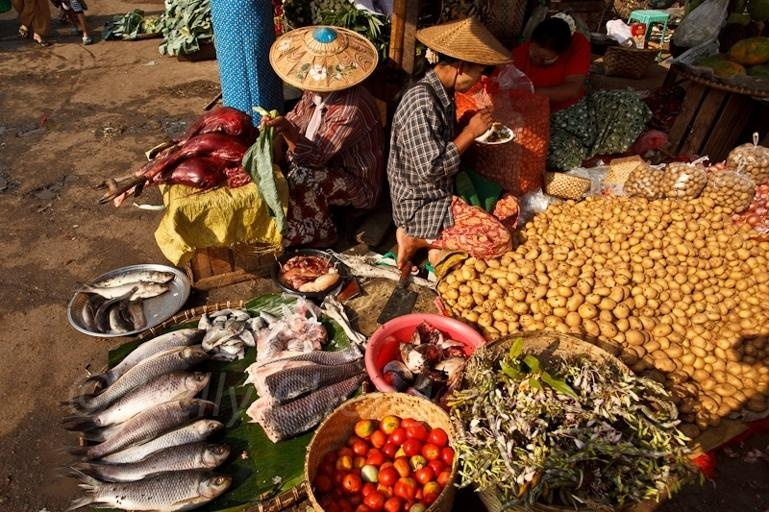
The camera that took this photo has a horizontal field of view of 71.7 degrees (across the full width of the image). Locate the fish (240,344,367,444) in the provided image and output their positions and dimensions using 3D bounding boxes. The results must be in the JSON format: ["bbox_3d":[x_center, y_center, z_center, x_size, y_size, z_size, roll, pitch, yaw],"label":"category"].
[{"bbox_3d":[-0.645,1.211,4.792,1.014,0.275,0.655,-27,62,-27],"label":"fish"}]

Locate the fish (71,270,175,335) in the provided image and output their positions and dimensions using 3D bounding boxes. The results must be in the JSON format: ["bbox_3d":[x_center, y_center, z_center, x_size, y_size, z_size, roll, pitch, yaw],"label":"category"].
[{"bbox_3d":[-2.688,0.435,5.503,0.628,0.220,0.733,30,41,32],"label":"fish"}]

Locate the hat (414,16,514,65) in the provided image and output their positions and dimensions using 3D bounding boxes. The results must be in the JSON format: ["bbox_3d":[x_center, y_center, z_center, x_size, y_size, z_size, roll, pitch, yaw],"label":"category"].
[{"bbox_3d":[0.793,-2.105,5.256,0.923,0.297,0.536,2,50,7],"label":"hat"}]

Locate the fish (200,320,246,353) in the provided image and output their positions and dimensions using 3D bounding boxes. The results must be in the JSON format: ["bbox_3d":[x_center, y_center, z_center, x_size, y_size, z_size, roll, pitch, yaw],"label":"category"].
[{"bbox_3d":[-1.563,0.767,5.183,0.224,0.089,0.350,40,53,19],"label":"fish"}]

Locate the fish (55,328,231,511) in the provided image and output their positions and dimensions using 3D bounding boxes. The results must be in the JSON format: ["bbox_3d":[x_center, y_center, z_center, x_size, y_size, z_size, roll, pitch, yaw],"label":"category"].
[{"bbox_3d":[-2.077,1.497,4.677,1.392,0.494,0.229,-22,29,-20],"label":"fish"}]

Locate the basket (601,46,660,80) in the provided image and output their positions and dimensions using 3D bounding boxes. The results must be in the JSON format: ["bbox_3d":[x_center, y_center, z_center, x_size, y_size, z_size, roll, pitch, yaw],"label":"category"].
[{"bbox_3d":[4.529,-3.543,9.827,0.835,0.414,0.664,16,41,23],"label":"basket"}]

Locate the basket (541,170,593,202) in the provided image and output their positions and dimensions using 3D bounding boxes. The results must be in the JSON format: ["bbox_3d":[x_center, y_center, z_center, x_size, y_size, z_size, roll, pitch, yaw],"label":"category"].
[{"bbox_3d":[2.104,-0.806,6.170,0.390,0.162,0.397,24,20,23],"label":"basket"}]

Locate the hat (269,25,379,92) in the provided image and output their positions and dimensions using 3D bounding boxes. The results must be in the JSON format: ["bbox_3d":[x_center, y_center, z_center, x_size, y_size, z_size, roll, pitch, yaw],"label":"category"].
[{"bbox_3d":[-0.573,-2.053,5.524,0.883,0.208,0.873,-37,69,-20],"label":"hat"}]
